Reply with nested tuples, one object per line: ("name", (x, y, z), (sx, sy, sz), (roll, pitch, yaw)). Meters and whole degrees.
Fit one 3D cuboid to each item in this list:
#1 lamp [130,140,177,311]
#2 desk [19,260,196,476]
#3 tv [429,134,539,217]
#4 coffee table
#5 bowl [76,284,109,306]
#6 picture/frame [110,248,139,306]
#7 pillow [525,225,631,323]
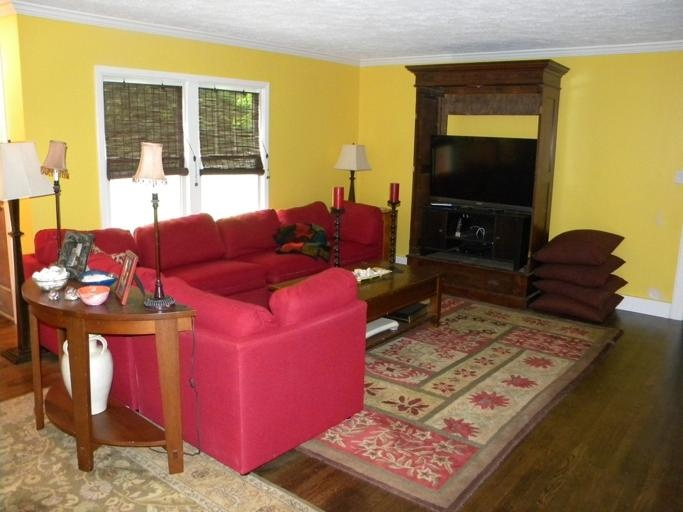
("lamp", (-1.185, -0.171, 3.165), (0.370, 0.974, 0.303), (0, 3, -17))
("desk", (-1.402, 0.706, 3.104), (1.406, 0.681, 0.494), (10, 18, 35))
("tv", (1.725, -0.963, 6.035), (1.297, 0.621, 0.045), (8, 19, 32))
("coffee table", (0.297, 0.193, 4.903), (0.869, 0.463, 1.474), (10, 16, 41))
("bowl", (-1.411, 0.212, 2.902), (0.152, 0.059, 0.132), (1, 5, 7))
("picture/frame", (-1.337, 0.138, 3.143), (0.027, 0.305, 0.364), (10, 3, -34))
("pillow", (2.662, 0.153, 5.973), (1.213, 0.907, 1.126), (6, 22, 38))
